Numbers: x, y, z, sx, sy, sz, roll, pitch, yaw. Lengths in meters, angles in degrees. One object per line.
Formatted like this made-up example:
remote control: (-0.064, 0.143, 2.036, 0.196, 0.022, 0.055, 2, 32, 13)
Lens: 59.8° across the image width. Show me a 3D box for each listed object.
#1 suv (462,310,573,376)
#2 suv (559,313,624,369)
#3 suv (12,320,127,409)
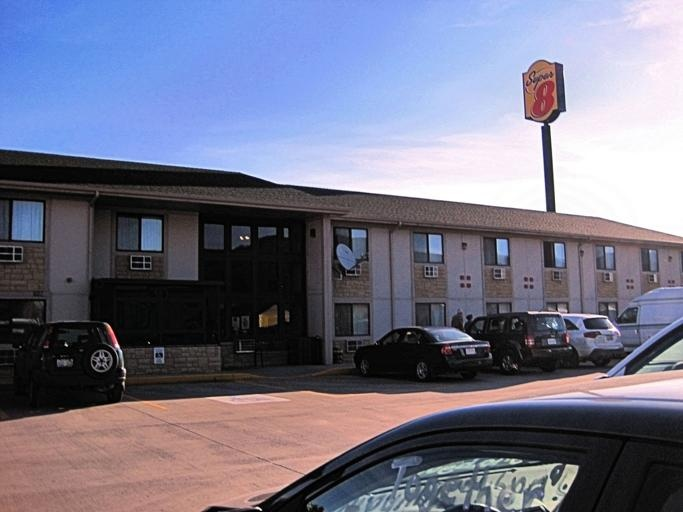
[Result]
suv: (5.748, 2.752, 19.812, 1.701, 1.410, 3.052, 1, 1, -32)
suv: (8.797, 2.892, 20.565, 1.333, 1.218, 2.905, 2, -2, -32)
suv: (-6.568, 2.448, 14.385, 1.641, 1.530, 3.298, 2, -3, -26)
